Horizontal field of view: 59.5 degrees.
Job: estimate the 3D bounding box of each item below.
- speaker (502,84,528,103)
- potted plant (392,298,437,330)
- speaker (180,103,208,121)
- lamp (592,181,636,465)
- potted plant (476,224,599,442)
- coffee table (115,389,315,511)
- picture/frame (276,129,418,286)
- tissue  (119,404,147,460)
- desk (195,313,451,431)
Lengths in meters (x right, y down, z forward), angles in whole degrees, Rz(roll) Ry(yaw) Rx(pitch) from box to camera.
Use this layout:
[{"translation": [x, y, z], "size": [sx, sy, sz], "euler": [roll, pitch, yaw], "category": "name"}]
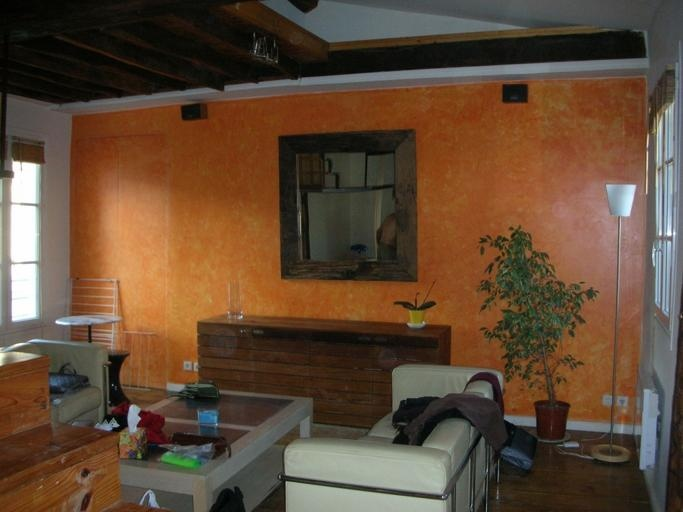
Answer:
[{"translation": [1.644, -1.526, 5.637], "size": [0.280, 0.205, 0.154], "euler": [1, 6, 10], "category": "speaker"}, {"translation": [0.735, 0.567, 5.907], "size": [0.419, 0.261, 0.369], "euler": [-2, 2, 8], "category": "potted plant"}, {"translation": [-1.648, -1.584, 6.613], "size": [0.314, 0.208, 0.164], "euler": [3, 9, 21], "category": "speaker"}, {"translation": [2.391, 0.533, 5.236], "size": [0.393, 2.344, 0.813], "euler": [-1, 2, 27], "category": "lamp"}, {"translation": [1.794, 0.685, 5.485], "size": [1.043, 1.930, 0.820], "euler": [-2, 2, 9], "category": "potted plant"}, {"translation": [-0.908, 1.235, 4.356], "size": [0.688, 0.366, 1.017], "euler": [1, 4, 20], "category": "coffee table"}, {"translation": [0.050, -0.511, 6.170], "size": [1.499, 1.522, 0.086], "euler": [0, 6, 17], "category": "picture/frame"}, {"translation": [-1.418, 1.176, 4.053], "size": [0.161, 0.317, 0.164], "euler": [-1, -11, -3], "category": "tissue "}, {"translation": [-0.269, 1.007, 6.132], "size": [2.184, 0.794, 0.563], "euler": [4, 15, 2], "category": "desk"}]
